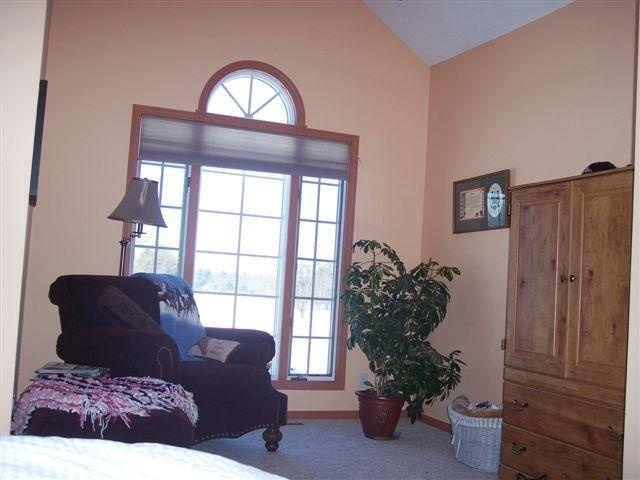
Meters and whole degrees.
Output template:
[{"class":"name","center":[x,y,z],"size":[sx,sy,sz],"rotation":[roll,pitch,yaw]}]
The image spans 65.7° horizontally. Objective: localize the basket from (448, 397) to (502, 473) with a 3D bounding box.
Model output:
[{"class":"basket","center":[1.061,1.316,3.384],"size":[0.413,0.406,0.301],"rotation":[1,-2,38]}]

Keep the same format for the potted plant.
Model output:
[{"class":"potted plant","center":[0.640,0.769,3.995],"size":[0.991,1.556,0.751],"rotation":[2,-2,17]}]

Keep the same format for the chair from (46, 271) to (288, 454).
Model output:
[{"class":"chair","center":[-0.977,0.798,3.197],"size":[1.463,1.154,1.391],"rotation":[-1,-7,0]}]

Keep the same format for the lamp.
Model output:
[{"class":"lamp","center":[-1.353,-0.062,3.665],"size":[0.383,0.840,0.392],"rotation":[18,18,18]}]

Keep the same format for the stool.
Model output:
[{"class":"stool","center":[-0.947,0.762,2.182],"size":[0.767,0.262,0.584],"rotation":[3,-2,-11]}]
